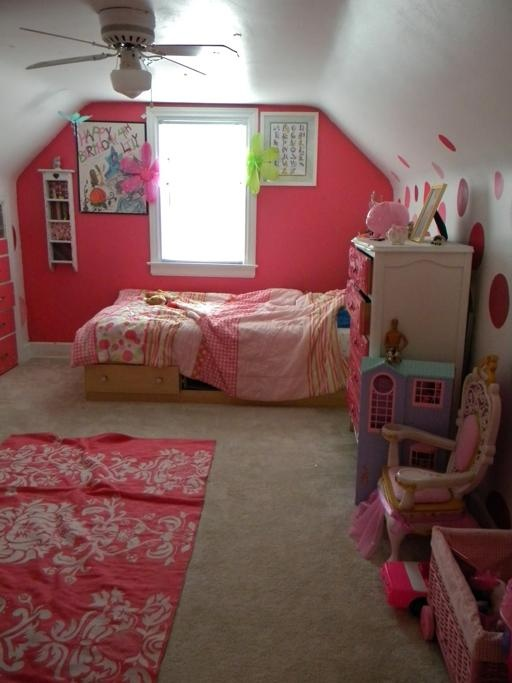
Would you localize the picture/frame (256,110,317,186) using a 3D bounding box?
[{"bbox_3d":[0.257,-1.685,4.385,0.615,0.752,0.048,-1,16,-1],"label":"picture/frame"}]

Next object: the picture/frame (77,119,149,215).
[{"bbox_3d":[-1.241,-1.562,4.468,0.751,0.998,0.036,1,12,-3],"label":"picture/frame"}]

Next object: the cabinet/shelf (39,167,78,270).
[{"bbox_3d":[-1.749,-1.075,4.545,0.285,0.891,0.226,-2,11,-16],"label":"cabinet/shelf"}]

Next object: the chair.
[{"bbox_3d":[0.611,0.434,1.930,0.432,0.820,0.436,2,11,1],"label":"chair"}]

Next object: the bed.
[{"bbox_3d":[-0.277,-0.015,3.707,1.638,0.517,1.016,0,21,1],"label":"bed"}]

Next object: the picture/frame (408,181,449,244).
[{"bbox_3d":[0.810,-0.613,2.430,0.139,0.276,0.418,5,12,17],"label":"picture/frame"}]
